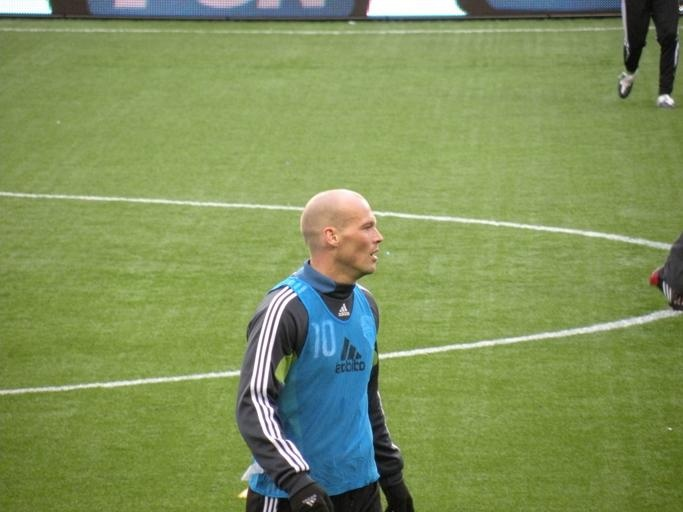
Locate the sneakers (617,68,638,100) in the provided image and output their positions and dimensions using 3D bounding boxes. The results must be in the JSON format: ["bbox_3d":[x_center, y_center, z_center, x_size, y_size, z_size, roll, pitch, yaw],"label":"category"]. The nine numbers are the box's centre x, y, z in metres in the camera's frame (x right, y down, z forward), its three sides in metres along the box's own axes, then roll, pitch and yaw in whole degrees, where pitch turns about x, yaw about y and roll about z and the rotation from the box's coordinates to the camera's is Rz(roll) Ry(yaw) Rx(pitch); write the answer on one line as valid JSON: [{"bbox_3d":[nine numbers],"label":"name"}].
[{"bbox_3d":[3.552,-2.136,12.535,0.148,0.200,0.456,0,47,10],"label":"sneakers"}]

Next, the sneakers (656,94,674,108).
[{"bbox_3d":[3.934,-1.886,12.266,0.121,0.133,0.201,0,-1,-3],"label":"sneakers"}]
